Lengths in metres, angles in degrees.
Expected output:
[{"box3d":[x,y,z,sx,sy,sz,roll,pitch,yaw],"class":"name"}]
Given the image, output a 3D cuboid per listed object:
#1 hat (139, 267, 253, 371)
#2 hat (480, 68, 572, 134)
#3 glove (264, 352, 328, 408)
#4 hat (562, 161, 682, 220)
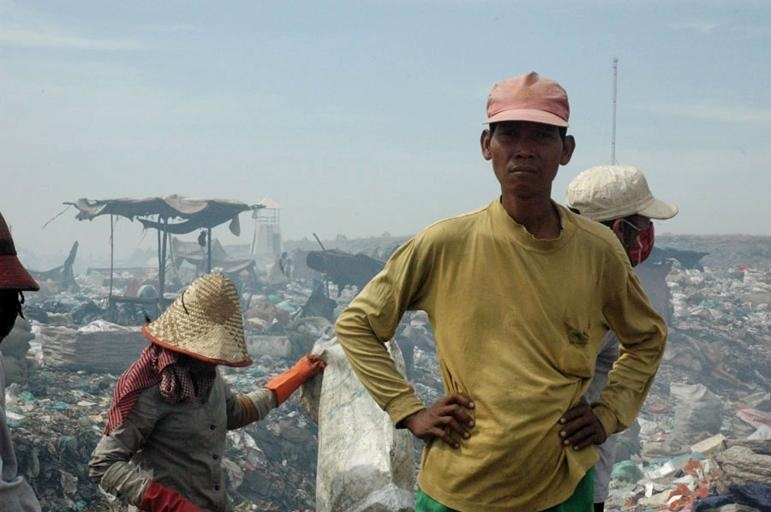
[{"box3d":[-1.526,0.466,5.947,0.959,0.617,0.891,11,7,15],"class":"hat"},{"box3d":[1.060,-1.187,5.290,0.654,0.377,0.808,-2,16,-3],"class":"hat"},{"box3d":[-0.815,1.104,6.395,0.178,0.258,0.753,34,36,22],"class":"glove"},{"box3d":[1.946,-0.549,5.914,0.992,0.466,0.652,-4,18,11],"class":"hat"}]
